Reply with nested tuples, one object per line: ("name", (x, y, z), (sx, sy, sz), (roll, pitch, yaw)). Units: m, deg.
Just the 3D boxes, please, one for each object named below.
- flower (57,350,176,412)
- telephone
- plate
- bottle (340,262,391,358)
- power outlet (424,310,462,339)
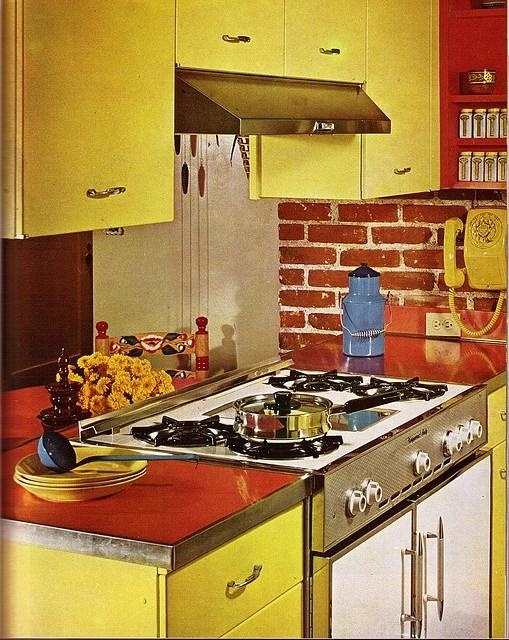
("flower", (-0.320, 0.125, 1.583), (0.161, 0.107, 0.181), (3, 0, -24))
("telephone", (0.706, -0.219, 2.188), (0.193, 0.275, 0.346), (1, 7, 12))
("plate", (-0.268, 0.235, 1.038), (0.199, 0.046, 0.162), (0, 7, 3))
("bottle", (0.342, -0.029, 2.160), (0.126, 0.287, 0.077), (-1, 7, 5))
("power outlet", (0.655, 0.014, 2.371), (0.102, 0.066, 0.018), (5, 9, 36))
